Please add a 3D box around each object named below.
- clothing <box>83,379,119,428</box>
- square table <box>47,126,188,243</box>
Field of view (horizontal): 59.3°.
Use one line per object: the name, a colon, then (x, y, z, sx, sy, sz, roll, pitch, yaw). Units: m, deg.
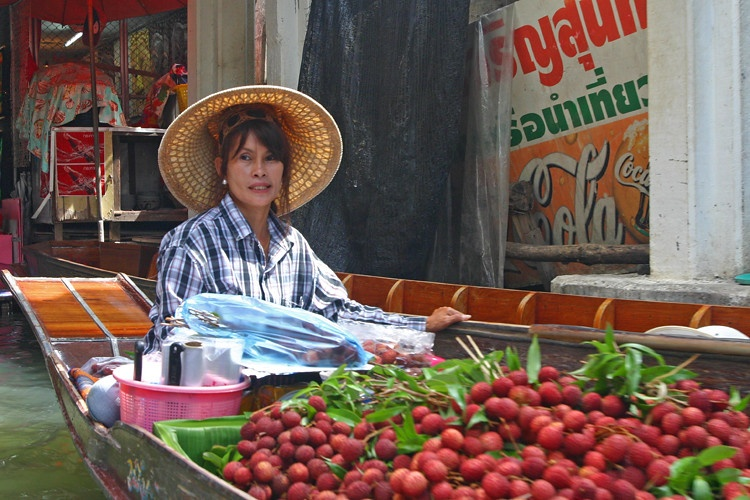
clothing: (-1.179, 0.660, 2.909, 0.181, 0.220, 0.218, 6, -3, -18)
square table: (-3.667, -0.858, 10.174, 2.089, 1.709, 2.040, -1, 4, -36)
